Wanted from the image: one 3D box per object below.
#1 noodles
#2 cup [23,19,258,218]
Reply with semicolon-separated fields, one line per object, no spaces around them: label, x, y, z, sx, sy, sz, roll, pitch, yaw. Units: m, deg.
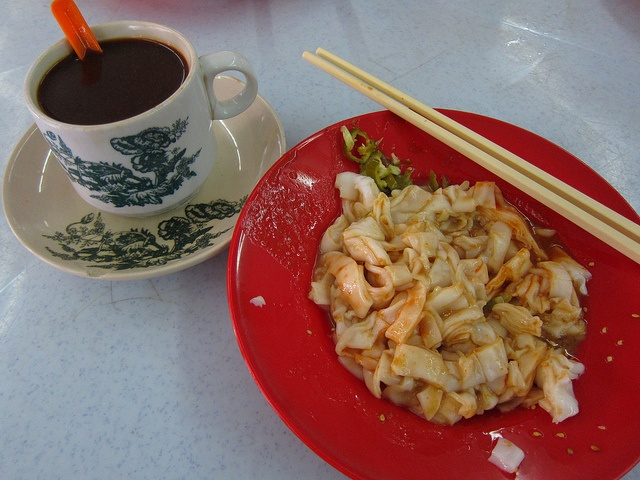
noodles;0.247;0.183;1.263;0.556;0.212;0.580;34;69;16
cup;-0.412;-0.270;1.305;0.368;0.260;0.346;-2;65;4
